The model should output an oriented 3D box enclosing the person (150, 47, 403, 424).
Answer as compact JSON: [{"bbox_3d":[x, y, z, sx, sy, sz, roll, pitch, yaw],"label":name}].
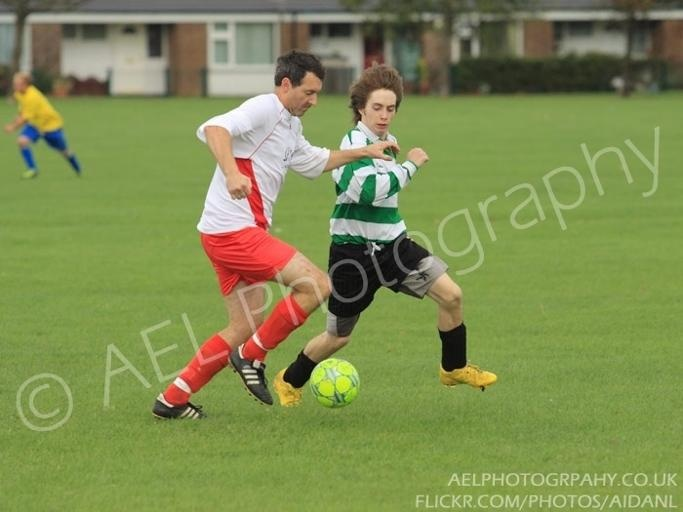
[{"bbox_3d":[-0.636,-0.140,9.121,1.482,2.694,0.709,-3,12,-9],"label":"person"}]

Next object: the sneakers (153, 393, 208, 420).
[{"bbox_3d":[-1.242,1.139,9.194,0.437,0.192,0.157,4,2,-16],"label":"sneakers"}]

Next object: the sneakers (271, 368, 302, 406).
[{"bbox_3d":[-0.436,1.062,9.424,0.156,0.325,0.153,-26,-6,20],"label":"sneakers"}]

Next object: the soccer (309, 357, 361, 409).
[{"bbox_3d":[-0.055,0.969,9.272,0.358,0.284,0.335,-3,2,13],"label":"soccer"}]

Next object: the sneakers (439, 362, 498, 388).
[{"bbox_3d":[0.980,0.949,9.406,0.404,0.189,0.191,-3,13,-1],"label":"sneakers"}]
